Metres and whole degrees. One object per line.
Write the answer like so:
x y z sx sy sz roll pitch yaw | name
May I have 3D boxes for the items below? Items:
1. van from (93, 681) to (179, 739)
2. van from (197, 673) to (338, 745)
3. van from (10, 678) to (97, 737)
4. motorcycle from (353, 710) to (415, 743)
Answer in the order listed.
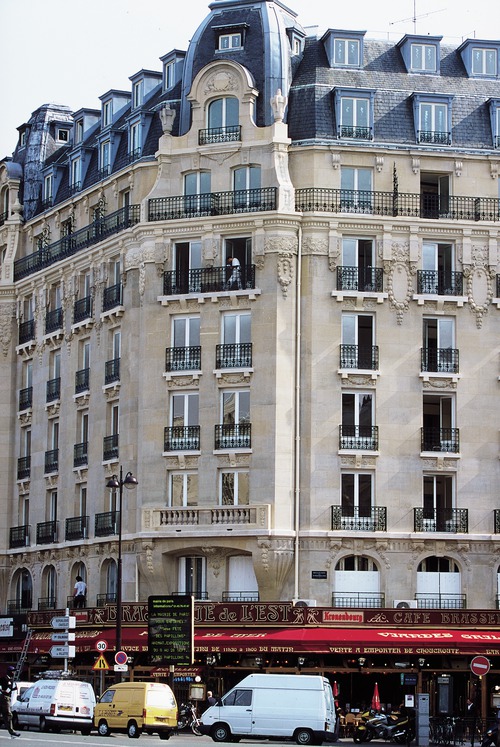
-3.025 9.500 56.127 1.450 2.093 1.529 -8 -18 9 | van
0.629 9.237 54.677 2.845 1.774 1.822 0 -20 13 | van
-5.501 9.572 57.347 1.259 1.232 2.418 7 -12 -26 | van
3.835 10.214 57.635 1.805 1.184 0.736 1 -10 14 | motorcycle
